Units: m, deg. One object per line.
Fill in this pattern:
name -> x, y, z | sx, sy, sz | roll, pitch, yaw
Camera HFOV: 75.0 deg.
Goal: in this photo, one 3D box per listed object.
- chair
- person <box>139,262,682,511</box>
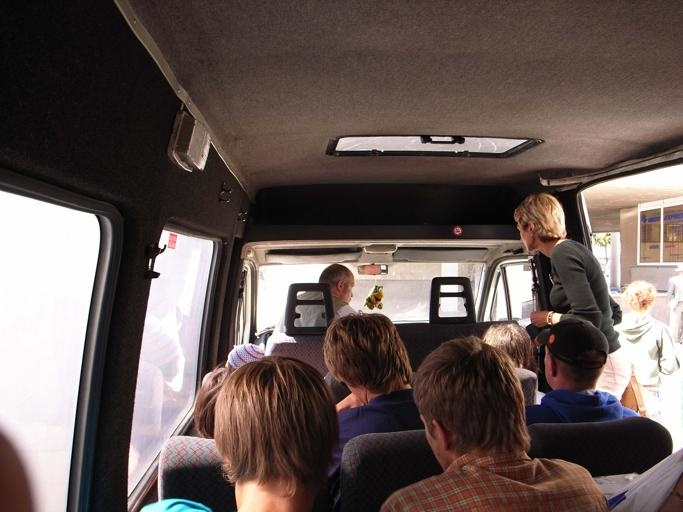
chair -> 0.370, 0.660, 2.320 | 1.747, 0.688, 0.710 | -2, -38, -3
person -> 0.332, 0.651, 2.470 | 1.752, 0.713, 0.707 | -1, 6, -7
